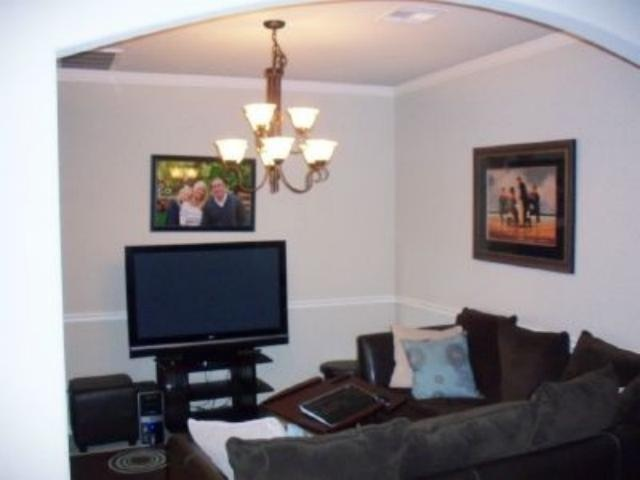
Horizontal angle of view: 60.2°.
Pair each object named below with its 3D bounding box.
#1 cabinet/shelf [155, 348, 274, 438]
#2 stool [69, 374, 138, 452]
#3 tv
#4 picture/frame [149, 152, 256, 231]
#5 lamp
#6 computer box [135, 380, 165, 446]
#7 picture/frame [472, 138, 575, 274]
[{"bbox_3d":[-0.892,1.246,4.567,0.908,0.562,0.342,-1,5,-16],"label":"cabinet/shelf"},{"bbox_3d":[-1.672,1.270,4.347,0.503,0.546,0.495,-2,3,-29],"label":"stool"},{"bbox_3d":[-1.013,0.483,4.624,0.991,0.710,0.106,0,-1,-23],"label":"tv"},{"bbox_3d":[-1.061,-0.430,4.726,0.685,0.498,0.033,0,5,-15],"label":"picture/frame"},{"bbox_3d":[-0.227,-0.745,3.027,0.633,0.976,0.713,0,0,13],"label":"lamp"},{"bbox_3d":[-1.322,1.372,4.299,0.182,0.433,0.129,-1,2,-16],"label":"computer box"},{"bbox_3d":[1.473,-0.253,3.918,0.072,0.911,1.023,0,1,-22],"label":"picture/frame"}]
